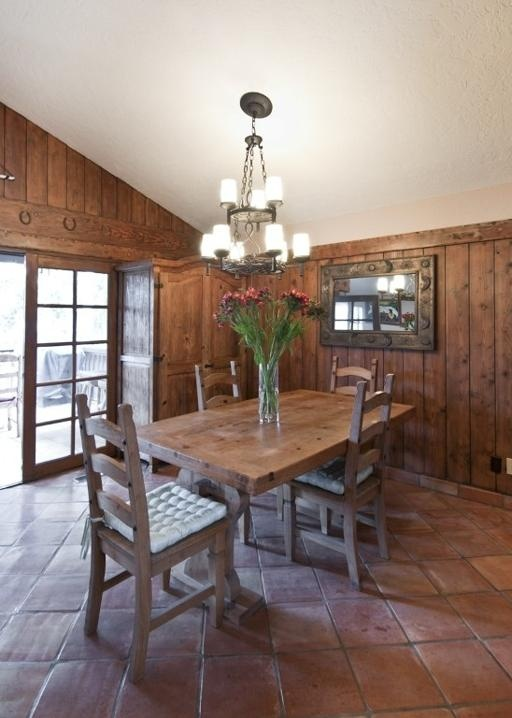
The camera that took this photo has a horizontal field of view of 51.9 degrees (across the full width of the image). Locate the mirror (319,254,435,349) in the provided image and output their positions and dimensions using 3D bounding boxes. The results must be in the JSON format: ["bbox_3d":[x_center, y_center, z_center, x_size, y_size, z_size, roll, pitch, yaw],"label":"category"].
[{"bbox_3d":[0.877,-0.401,3.673,0.051,0.510,0.692,-2,3,-43],"label":"mirror"}]

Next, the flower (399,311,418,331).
[{"bbox_3d":[1.031,-0.250,3.545,0.104,0.116,0.106,-8,-17,27],"label":"flower"}]
